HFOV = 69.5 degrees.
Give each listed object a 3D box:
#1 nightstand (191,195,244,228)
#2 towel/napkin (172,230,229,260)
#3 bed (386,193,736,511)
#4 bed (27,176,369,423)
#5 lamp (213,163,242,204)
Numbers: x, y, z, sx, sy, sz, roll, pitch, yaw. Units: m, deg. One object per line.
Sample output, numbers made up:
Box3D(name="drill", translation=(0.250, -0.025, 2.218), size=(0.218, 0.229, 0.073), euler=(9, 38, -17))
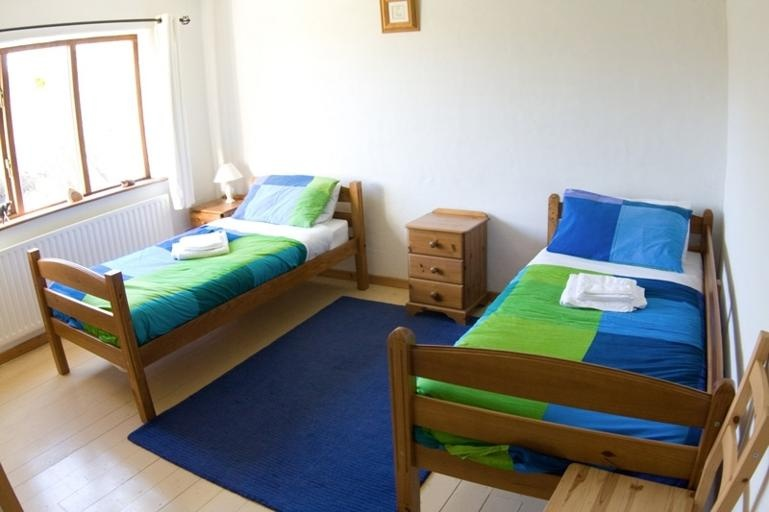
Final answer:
Box3D(name="nightstand", translation=(-1.674, -0.470, 5.500), size=(0.368, 0.319, 0.344), euler=(13, 29, 29))
Box3D(name="towel/napkin", translation=(-1.483, -0.082, 4.486), size=(0.306, 0.078, 0.297), euler=(-13, 23, -27))
Box3D(name="bed", translation=(1.302, 0.538, 3.460), size=(1.338, 1.084, 2.537), euler=(6, 23, 29))
Box3D(name="bed", translation=(-1.352, 0.145, 4.627), size=(1.319, 0.972, 2.229), euler=(10, 23, 31))
Box3D(name="lamp", translation=(-1.588, -0.747, 5.609), size=(0.303, 0.407, 0.304), euler=(-2, 29, -4))
